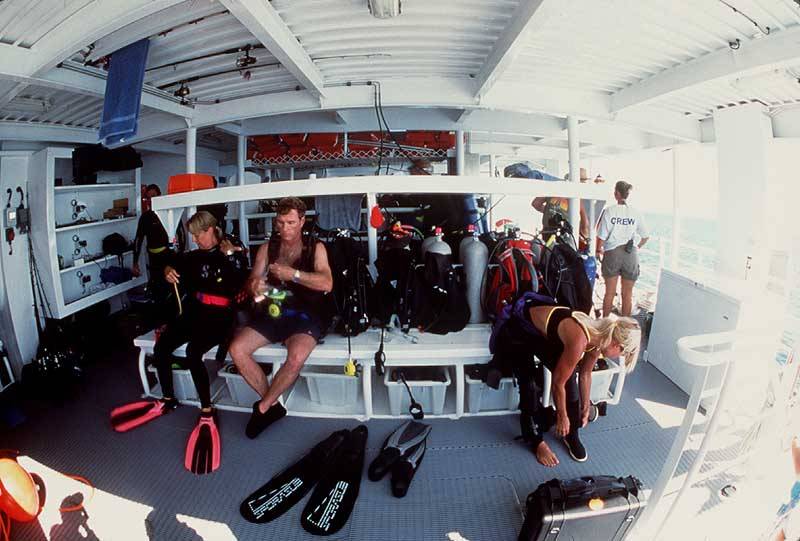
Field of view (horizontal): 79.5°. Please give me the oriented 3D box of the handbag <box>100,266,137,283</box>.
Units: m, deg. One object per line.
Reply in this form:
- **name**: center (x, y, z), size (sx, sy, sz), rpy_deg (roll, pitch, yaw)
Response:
- **handbag**: center (-4.159, 0.067, 6.909), size (0.299, 0.102, 0.297), rpy_deg (7, 16, 10)

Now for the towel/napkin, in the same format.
- **towel/napkin**: center (-2.947, -1.868, 5.139), size (0.921, 0.999, 0.314), rpy_deg (6, 10, 38)

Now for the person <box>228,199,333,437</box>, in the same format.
- **person**: center (-1.164, 0.437, 4.736), size (0.988, 2.269, 0.564), rpy_deg (-2, 8, -8)

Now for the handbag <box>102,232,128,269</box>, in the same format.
- **handbag**: center (-4.178, -0.286, 7.000), size (0.346, 0.457, 0.166), rpy_deg (-6, 4, -39)

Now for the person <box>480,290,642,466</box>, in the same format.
- **person**: center (1.401, 1.002, 4.299), size (1.273, 1.541, 0.539), rpy_deg (4, 9, 26)

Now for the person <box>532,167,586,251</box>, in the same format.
- **person**: center (1.967, -0.794, 5.936), size (0.679, 0.899, 2.053), rpy_deg (3, 9, 20)
